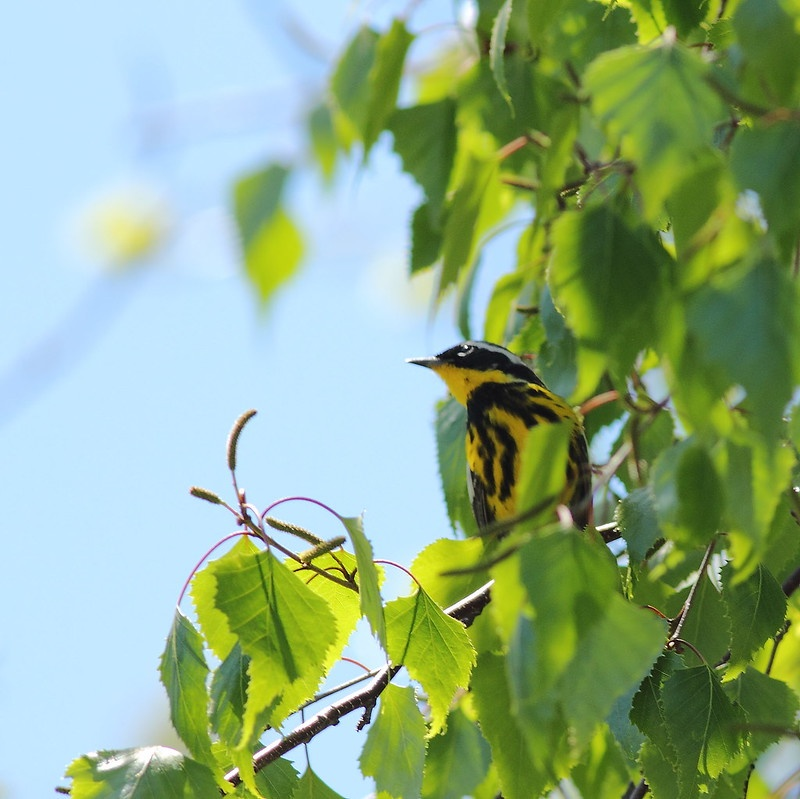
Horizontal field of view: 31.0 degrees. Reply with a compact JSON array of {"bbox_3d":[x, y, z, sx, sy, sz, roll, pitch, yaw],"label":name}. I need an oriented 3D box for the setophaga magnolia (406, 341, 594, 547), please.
[{"bbox_3d":[0.459,0.041,6.744,0.690,0.853,0.637,-37,-51,17],"label":"setophaga magnolia"}]
